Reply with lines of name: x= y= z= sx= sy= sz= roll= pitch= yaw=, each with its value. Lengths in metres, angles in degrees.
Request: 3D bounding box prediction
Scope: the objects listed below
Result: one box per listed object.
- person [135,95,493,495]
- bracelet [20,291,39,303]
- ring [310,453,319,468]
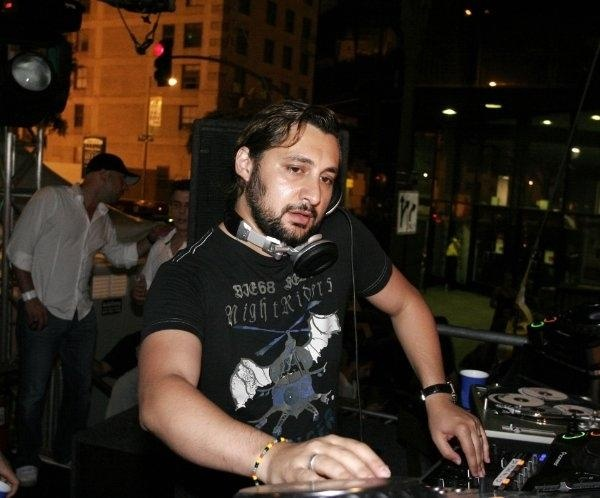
person: x=-0.014 y=0.370 z=1.934 sx=0.976 sy=1.429 sz=0.889 roll=14 pitch=5 yaw=-16
bracelet: x=-1.681 y=0.284 z=3.804 sx=0.074 sy=0.075 sz=0.073 roll=-12 pitch=4 yaw=-15
ring: x=0.029 y=0.481 z=1.382 sx=0.018 sy=0.025 sz=0.020 roll=6 pitch=3 yaw=0
